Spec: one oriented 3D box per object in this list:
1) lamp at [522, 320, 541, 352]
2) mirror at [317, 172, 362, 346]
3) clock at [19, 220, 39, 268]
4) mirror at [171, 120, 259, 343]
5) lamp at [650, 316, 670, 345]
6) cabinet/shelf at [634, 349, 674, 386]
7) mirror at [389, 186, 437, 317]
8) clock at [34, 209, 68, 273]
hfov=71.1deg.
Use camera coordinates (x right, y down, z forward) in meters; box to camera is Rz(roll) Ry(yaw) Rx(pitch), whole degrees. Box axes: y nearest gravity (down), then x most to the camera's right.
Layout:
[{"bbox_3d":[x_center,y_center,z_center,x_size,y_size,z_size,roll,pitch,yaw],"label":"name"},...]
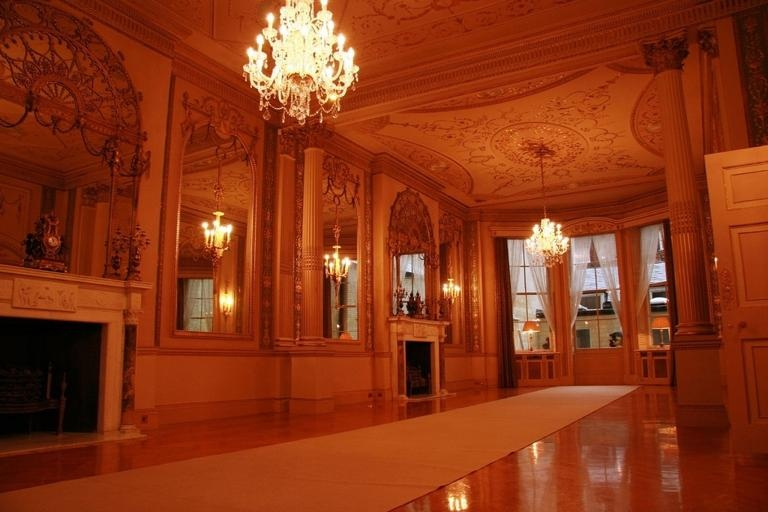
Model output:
[{"bbox_3d":[4.734,2.514,17.156,0.551,0.951,0.326,-1,-12,0],"label":"lamp"},{"bbox_3d":[-1.007,-0.007,11.541,0.572,3.466,1.062,-4,-12,17],"label":"mirror"},{"bbox_3d":[-4.520,-0.084,6.867,0.245,0.452,0.116,-6,-13,24],"label":"clock"},{"bbox_3d":[-2.939,-0.466,9.450,0.311,3.626,1.431,-9,-14,34],"label":"mirror"},{"bbox_3d":[8.052,2.179,15.709,0.471,0.899,0.669,-6,-12,22],"label":"lamp"},{"bbox_3d":[7.815,3.175,15.514,0.308,0.985,1.114,3,-12,-20],"label":"cabinet/shelf"},{"bbox_3d":[0.657,-0.040,13.254,0.221,3.396,3.241,-8,-13,27],"label":"mirror"},{"bbox_3d":[-4.294,-0.166,6.966,0.148,0.725,0.371,-8,-14,32],"label":"clock"}]
